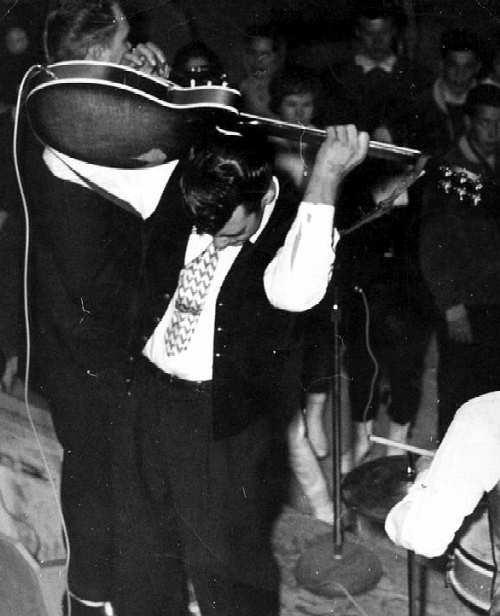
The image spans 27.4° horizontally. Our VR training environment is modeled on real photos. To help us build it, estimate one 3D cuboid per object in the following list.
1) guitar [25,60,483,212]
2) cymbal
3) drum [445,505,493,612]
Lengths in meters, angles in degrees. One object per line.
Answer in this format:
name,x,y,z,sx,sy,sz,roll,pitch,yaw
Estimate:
guitar,-0.031,-0.424,2.230,0.833,0.310,0.114,16,59,1
cymbal,0.280,0.354,2.212,0.167,0.030,0.158,-15,5,-9
drum,0.482,0.553,2.258,0.087,0.206,0.153,2,20,10
